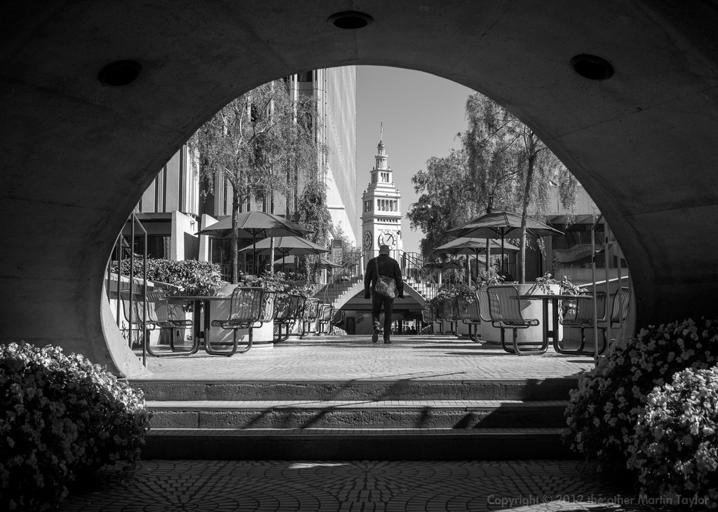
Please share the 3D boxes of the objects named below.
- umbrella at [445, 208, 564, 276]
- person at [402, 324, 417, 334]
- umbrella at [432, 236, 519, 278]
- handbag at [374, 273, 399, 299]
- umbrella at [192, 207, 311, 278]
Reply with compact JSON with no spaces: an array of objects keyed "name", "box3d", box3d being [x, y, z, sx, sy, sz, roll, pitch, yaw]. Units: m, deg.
[{"name":"umbrella","box3d":[2.820,-0.467,15.536,1.523,1.090,1.644,0,-1,-9]},{"name":"person","box3d":[3.089,4.384,49.242,0.803,0.423,1.133,1,-3,-8]},{"name":"umbrella","box3d":[3.061,-0.246,21.513,1.500,1.026,1.493,4,-7,-33]},{"name":"handbag","box3d":[0.488,0.516,14.856,0.337,0.347,0.135,18,-27,-20]},{"name":"umbrella","box3d":[-2.067,-0.569,17.176,1.803,1.213,1.831,2,-4,-29]}]
